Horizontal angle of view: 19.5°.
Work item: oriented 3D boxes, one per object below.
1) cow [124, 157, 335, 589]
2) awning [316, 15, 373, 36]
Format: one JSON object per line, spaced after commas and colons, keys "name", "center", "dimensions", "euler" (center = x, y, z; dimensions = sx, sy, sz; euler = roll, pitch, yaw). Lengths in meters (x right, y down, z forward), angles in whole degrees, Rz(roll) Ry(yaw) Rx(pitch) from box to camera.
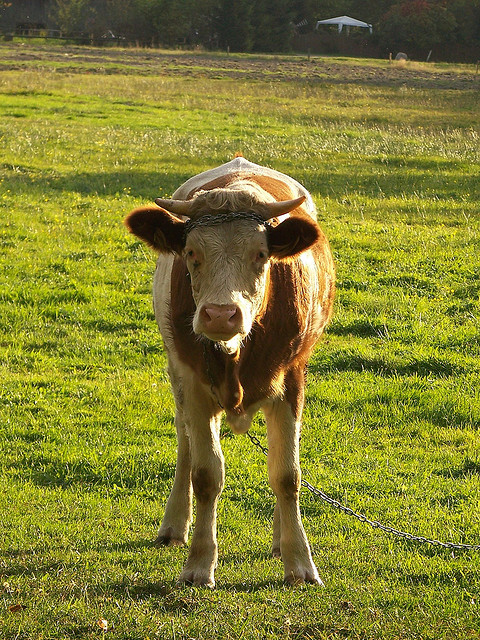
{"name": "cow", "center": [-0.058, 0.508, 12.535], "dimensions": [1.673, 3.525, 2.279], "euler": [3, 10, -1]}
{"name": "awning", "center": [7.780, -21.958, 104.495], "dimensions": [4.057, 1.450, 8.746], "euler": [4, 12, 4]}
